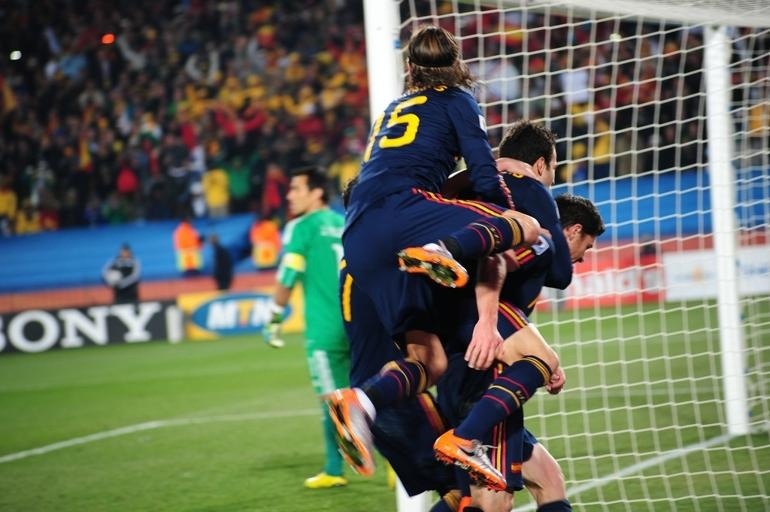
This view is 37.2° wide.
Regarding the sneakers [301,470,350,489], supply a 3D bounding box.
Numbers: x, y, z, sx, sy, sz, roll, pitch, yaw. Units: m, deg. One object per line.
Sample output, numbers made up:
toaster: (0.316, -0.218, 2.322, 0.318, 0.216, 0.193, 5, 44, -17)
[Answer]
sneakers: (-0.699, 2.703, 13.859, 0.549, 0.223, 0.198, 2, -10, -1)
